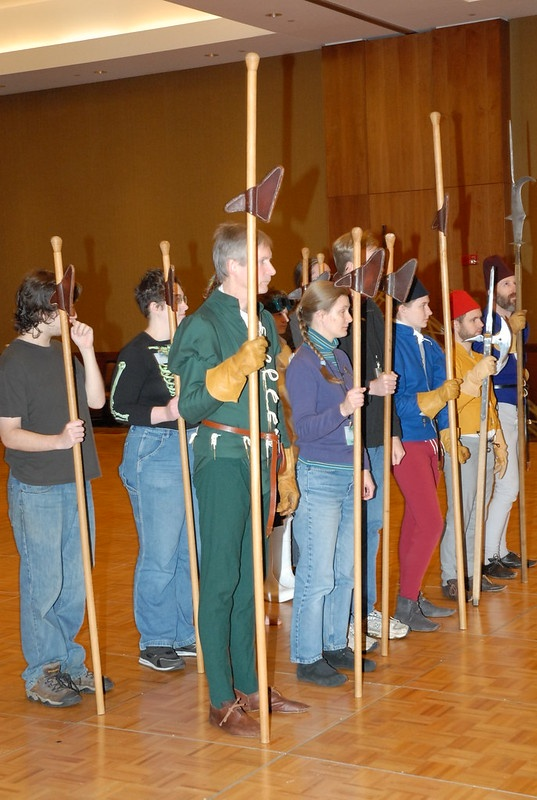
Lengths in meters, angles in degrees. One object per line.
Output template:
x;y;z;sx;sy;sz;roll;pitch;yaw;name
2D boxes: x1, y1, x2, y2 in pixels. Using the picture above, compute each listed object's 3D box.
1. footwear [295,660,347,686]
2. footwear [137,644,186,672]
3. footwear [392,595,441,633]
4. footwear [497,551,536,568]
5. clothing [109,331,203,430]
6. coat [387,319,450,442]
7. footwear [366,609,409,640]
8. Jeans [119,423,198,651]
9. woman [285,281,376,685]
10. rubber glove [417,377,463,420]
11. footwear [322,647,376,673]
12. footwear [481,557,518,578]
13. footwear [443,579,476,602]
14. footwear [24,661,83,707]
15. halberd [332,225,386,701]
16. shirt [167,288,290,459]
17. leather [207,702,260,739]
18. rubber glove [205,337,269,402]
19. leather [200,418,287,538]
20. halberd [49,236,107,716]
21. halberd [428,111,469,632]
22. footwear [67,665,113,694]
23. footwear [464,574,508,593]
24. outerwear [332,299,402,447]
0.181;0.958;2.704;0.147;0.058;0.079;0;2;34;footwear
-0.414;0.996;2.981;0.173;0.073;0.072;-6;-16;36;footwear
0.630;0.938;3.374;0.237;0.146;0.087;2;-6;14;footwear
1.460;0.948;4.581;0.179;0.060;0.109;-2;0;33;footwear
-0.391;-0.064;2.723;0.243;0.384;0.432;1;3;31;clothing
0.675;-0.072;3.461;0.286;0.479;0.407;-1;4;43;coat
0.496;0.962;3.312;0.231;0.096;0.082;5;15;27;footwear
-0.435;0.574;3.139;0.317;0.905;0.442;-12;-15;19;Jeans
0.255;0.290;2.783;0.435;1.381;0.482;-1;0;14;woman
0.696;-0.019;3.239;0.077;0.131;0.181;8;-31;-43;rubber glove
0.287;0.971;2.889;0.233;0.090;0.084;-1;0;15;footwear
1.261;0.945;4.392;0.098;0.099;0.260;-9;1;-37;footwear
0.991;0.957;3.914;0.113;0.113;0.178;2;-10;-38;footwear
-0.717;0.960;2.627;0.215;0.109;0.100;-4;-4;43;footwear
0.345;0.160;2.720;0.184;1.640;0.679;-3;-3;6;halberd
-0.111;-0.053;2.340;0.354;0.516;0.507;-5;-7;23;shirt
-0.094;0.921;2.222;0.167;0.061;0.073;1;5;39;leather
-0.084;-0.076;1.980;0.138;0.147;0.187;-2;-3;-11;rubber glove
-0.057;0.218;2.267;0.091;0.308;0.332;2;3;29;leather
-0.617;0.245;2.557;0.126;1.532;0.500;-2;-3;-14;halberd
0.860;-0.284;3.684;0.090;2.578;1.050;-4;-3;14;halberd
-0.628;0.980;2.705;0.177;0.072;0.061;0;1;-4;footwear
1.138;0.963;4.063;0.276;0.098;0.085;0;3;-2;footwear
0.419;-0.116;3.152;0.138;0.525;0.401;-4;2;22;outerwear
